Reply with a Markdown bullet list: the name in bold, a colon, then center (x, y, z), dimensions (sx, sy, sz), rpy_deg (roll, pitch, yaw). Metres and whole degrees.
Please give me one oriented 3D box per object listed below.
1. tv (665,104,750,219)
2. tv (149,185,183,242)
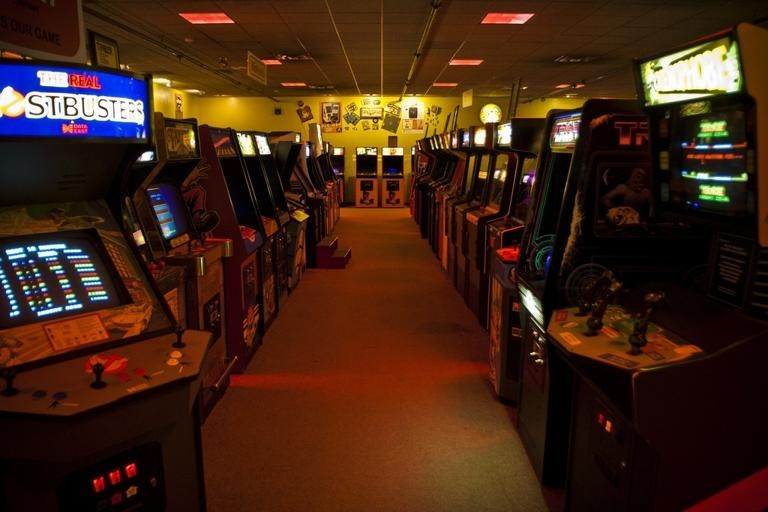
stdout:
- **tv**: center (1.427, -0.427, 2.282), dimensions (0.280, 0.434, 0.494), rpy_deg (-1, 10, 0)
- **tv**: center (-1.505, -0.301, 3.592), dimensions (0.112, 0.340, 0.254), rpy_deg (-7, 3, 19)
